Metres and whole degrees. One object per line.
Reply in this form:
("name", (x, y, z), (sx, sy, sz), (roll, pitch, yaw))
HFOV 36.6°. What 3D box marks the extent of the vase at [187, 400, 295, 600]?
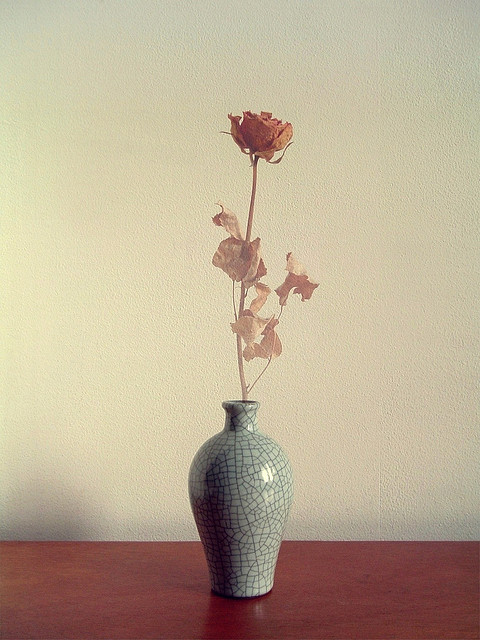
("vase", (0.005, 0.238, 0.958), (0.111, 0.254, 0.122), (4, 5, 44))
